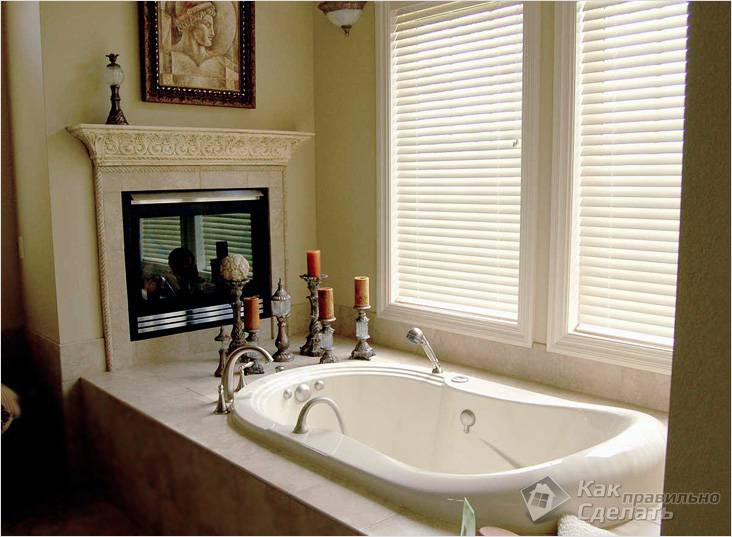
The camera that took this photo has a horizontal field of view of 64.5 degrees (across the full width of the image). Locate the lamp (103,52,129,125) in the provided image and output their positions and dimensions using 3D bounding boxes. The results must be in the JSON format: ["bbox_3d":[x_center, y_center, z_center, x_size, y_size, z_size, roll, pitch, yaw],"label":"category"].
[{"bbox_3d":[-1.347,-0.964,3.087,0.113,0.399,0.245,-6,11,-20],"label":"lamp"}]

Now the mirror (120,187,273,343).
[{"bbox_3d":[-1.017,-0.053,3.587,0.996,0.885,0.146,-11,14,-41],"label":"mirror"}]

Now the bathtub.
[{"bbox_3d":[0.368,0.711,2.469,0.815,0.426,1.355,-6,5,-39],"label":"bathtub"}]

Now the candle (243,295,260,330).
[{"bbox_3d":[-0.626,0.248,3.136,0.083,0.179,0.130,-5,11,-15],"label":"candle"}]

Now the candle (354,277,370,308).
[{"bbox_3d":[-0.027,0.152,3.413,0.073,0.180,0.075,0,11,13],"label":"candle"}]

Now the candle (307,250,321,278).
[{"bbox_3d":[-0.311,-0.021,3.381,0.065,0.158,0.038,-6,11,-17],"label":"candle"}]

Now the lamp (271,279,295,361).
[{"bbox_3d":[-0.515,0.295,3.464,0.114,0.511,0.284,-4,10,-8],"label":"lamp"}]

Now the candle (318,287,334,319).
[{"bbox_3d":[-0.237,0.216,3.327,0.080,0.185,0.054,-4,10,-7],"label":"candle"}]
